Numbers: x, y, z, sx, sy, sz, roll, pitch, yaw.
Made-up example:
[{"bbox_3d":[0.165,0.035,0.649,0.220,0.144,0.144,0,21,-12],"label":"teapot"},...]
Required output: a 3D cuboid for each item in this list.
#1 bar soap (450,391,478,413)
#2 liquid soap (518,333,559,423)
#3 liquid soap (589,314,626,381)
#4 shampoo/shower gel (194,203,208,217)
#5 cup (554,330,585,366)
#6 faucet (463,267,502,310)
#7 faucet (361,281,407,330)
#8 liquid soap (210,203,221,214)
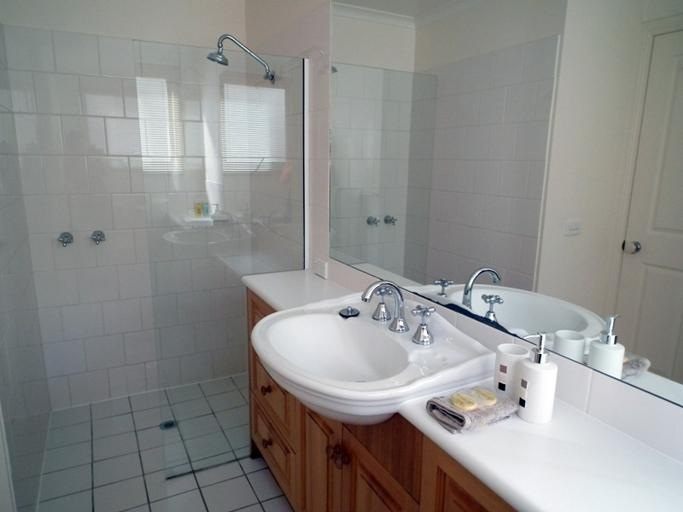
[{"bbox_3d":[0.343,0.411,1.340,0.043,0.012,0.042,-8,16,-31],"label":"bar soap"},{"bbox_3d":[0.543,0.345,1.324,0.092,0.243,0.063,1,15,14],"label":"liquid soap"},{"bbox_3d":[0.767,0.273,1.366,0.073,0.206,0.075,3,6,27],"label":"liquid soap"},{"bbox_3d":[-0.744,-0.247,2.508,0.058,0.059,0.031,-5,19,-26],"label":"shampoo/shower gel"},{"bbox_3d":[0.697,0.269,1.450,0.069,0.080,0.079,-15,23,-28],"label":"cup"},{"bbox_3d":[0.508,0.115,1.733,0.126,0.227,0.059,5,51,16],"label":"faucet"},{"bbox_3d":[0.170,0.191,1.774,0.172,0.196,0.084,-3,16,-7],"label":"faucet"},{"bbox_3d":[-0.674,-0.250,2.538,0.059,0.064,0.015,-12,17,-31],"label":"liquid soap"}]
